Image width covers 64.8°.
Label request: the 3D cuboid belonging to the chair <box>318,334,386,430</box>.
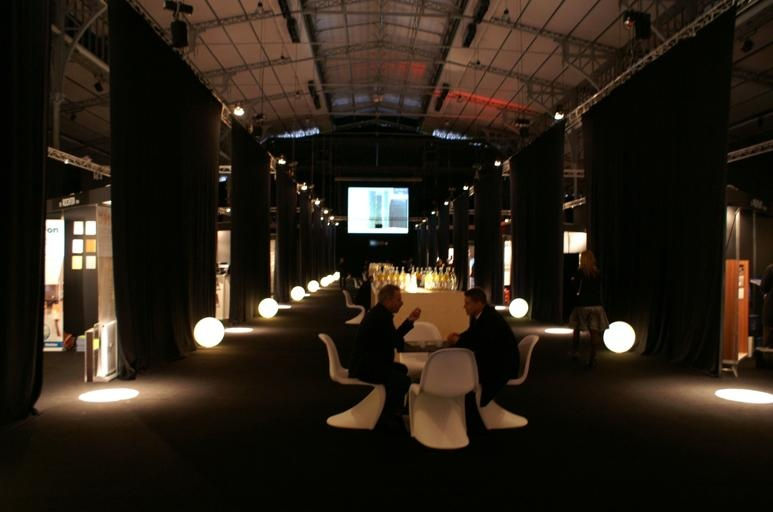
[{"bbox_3d":[-0.420,1.665,7.984,0.762,1.162,0.664,5,0,0],"label":"chair"}]

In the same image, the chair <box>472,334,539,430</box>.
[{"bbox_3d":[1.528,1.706,7.803,1.048,1.535,0.815,1,-4,5],"label":"chair"}]

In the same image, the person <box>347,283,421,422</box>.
[{"bbox_3d":[-0.027,1.197,7.815,0.852,1.542,0.538,1,14,4],"label":"person"}]

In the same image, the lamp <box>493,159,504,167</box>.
[{"bbox_3d":[3.235,-2.664,17.616,0.231,0.292,0.249,3,7,16],"label":"lamp"}]

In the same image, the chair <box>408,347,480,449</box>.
[{"bbox_3d":[0.685,1.661,7.494,0.687,1.259,0.865,0,4,-7],"label":"chair"}]

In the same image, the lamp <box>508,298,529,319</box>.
[{"bbox_3d":[3.237,1.269,14.752,0.497,0.580,0.627,10,2,27],"label":"lamp"}]
